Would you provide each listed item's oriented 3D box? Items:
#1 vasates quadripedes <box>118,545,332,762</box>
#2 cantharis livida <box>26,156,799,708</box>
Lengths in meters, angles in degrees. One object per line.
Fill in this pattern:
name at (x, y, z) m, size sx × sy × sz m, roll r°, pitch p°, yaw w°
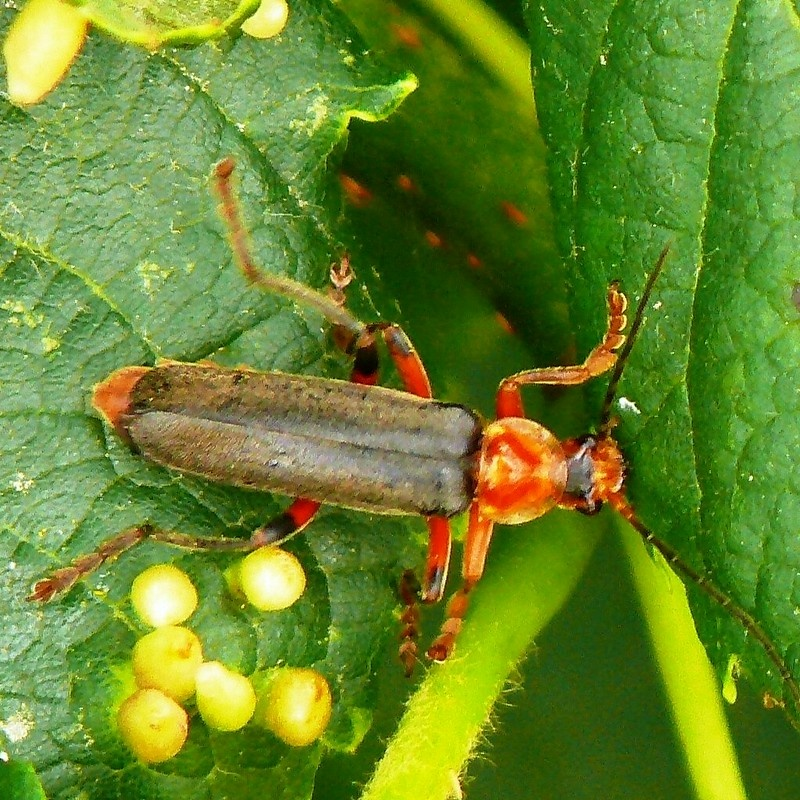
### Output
vasates quadripedes at (-0.592, 0.845, 4.257) m, size 0.703 × 0.224 × 0.677 m, roll -6°, pitch 77°, yaw -2°
cantharis livida at (-0.159, 0.256, 4.600) m, size 1.835 × 0.866 × 1.426 m, roll 13°, pitch 77°, yaw 2°
